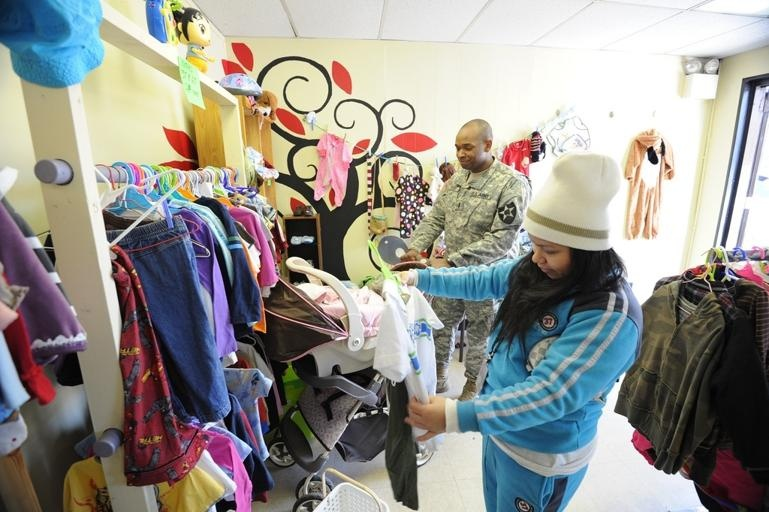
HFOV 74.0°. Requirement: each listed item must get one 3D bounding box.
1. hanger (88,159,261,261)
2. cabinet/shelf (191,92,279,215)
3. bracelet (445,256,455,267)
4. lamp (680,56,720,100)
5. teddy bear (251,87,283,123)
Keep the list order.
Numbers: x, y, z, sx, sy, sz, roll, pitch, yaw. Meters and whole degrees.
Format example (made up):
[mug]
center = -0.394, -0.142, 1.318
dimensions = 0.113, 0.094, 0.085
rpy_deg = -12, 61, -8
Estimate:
[hanger]
center = -1.029, -0.327, 2.466
dimensions = 0.697, 0.471, 0.215
rpy_deg = -8, -13, 14
[cabinet/shelf]
center = -1.002, -0.694, 3.350
dimensions = 0.323, 0.968, 1.015
rpy_deg = 2, 10, 6
[bracelet]
center = 0.432, 0.042, 3.374
dimensions = 0.043, 0.059, 0.058
rpy_deg = -19, 22, -12
[lamp]
center = 3.038, -1.710, 4.891
dimensions = 0.389, 0.392, 0.129
rpy_deg = -3, 15, -13
[teddy bear]
center = -0.952, -1.199, 4.070
dimensions = 0.185, 0.233, 0.265
rpy_deg = 22, -9, 9
